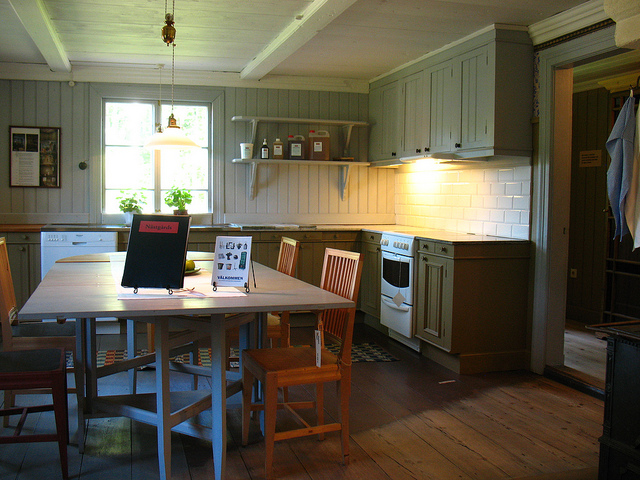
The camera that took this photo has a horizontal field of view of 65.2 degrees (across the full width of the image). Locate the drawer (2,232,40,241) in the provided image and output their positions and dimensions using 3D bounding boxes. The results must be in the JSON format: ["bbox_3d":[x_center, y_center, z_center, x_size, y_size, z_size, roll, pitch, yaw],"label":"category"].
[{"bbox_3d":[-3.033,-0.030,5.090,0.357,0.086,0.029,0,9,-6],"label":"drawer"}]

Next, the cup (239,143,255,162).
[{"bbox_3d":[-0.819,-0.988,5.747,0.211,0.191,0.220,-1,-1,0],"label":"cup"}]

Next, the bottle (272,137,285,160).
[{"bbox_3d":[-0.482,-1.068,5.865,0.138,0.251,0.250,0,8,-4],"label":"bottle"}]

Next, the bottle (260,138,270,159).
[{"bbox_3d":[-0.637,-1.055,5.795,0.110,0.246,0.269,0,8,-5],"label":"bottle"}]

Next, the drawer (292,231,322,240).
[{"bbox_3d":[-0.136,-0.045,5.472,0.335,0.093,0.036,-2,9,-21],"label":"drawer"}]

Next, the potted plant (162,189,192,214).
[{"bbox_3d":[-1.568,-0.412,5.595,0.291,0.281,0.287,-1,4,-1],"label":"potted plant"}]

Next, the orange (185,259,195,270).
[{"bbox_3d":[-0.824,0.161,3.213,0.052,0.052,0.053,-7,3,-1],"label":"orange"}]

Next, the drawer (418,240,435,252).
[{"bbox_3d":[0.936,0.055,4.376,0.030,0.081,0.146,4,2,-30],"label":"drawer"}]

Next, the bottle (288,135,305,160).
[{"bbox_3d":[-0.270,-1.067,5.826,0.271,0.384,0.146,0,9,-2],"label":"bottle"}]
